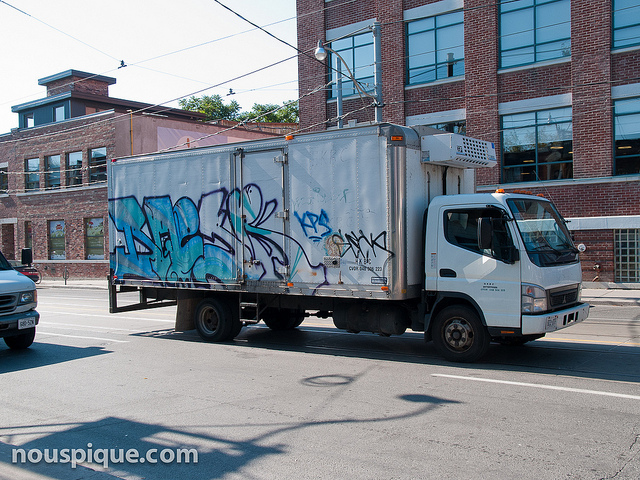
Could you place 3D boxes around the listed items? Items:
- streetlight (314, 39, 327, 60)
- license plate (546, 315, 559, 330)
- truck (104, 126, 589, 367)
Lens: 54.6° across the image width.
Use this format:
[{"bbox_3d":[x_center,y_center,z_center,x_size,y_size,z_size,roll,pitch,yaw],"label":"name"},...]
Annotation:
[{"bbox_3d":[0.009,-6.330,20.656,0.355,0.719,0.964,-1,3,0],"label":"streetlight"},{"bbox_3d":[3.998,1.431,10.671,0.345,0.240,0.035,-4,5,-40],"label":"license plate"},{"bbox_3d":[0.102,0.209,14.109,10.284,4.337,3.724,0,0,32],"label":"truck"}]
